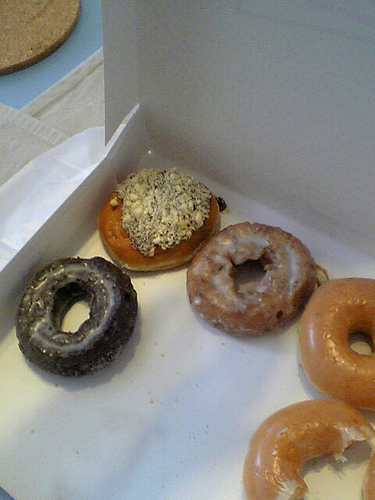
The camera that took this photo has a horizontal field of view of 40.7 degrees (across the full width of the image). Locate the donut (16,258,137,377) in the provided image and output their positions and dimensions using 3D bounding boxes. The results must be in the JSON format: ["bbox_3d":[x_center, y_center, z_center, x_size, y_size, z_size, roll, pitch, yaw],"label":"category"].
[{"bbox_3d":[-0.329,0.204,1.536,0.334,0.208,0.355,6,49,15],"label":"donut"}]

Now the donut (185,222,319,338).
[{"bbox_3d":[0.191,0.068,1.592,0.382,0.120,0.396,33,64,11],"label":"donut"}]
